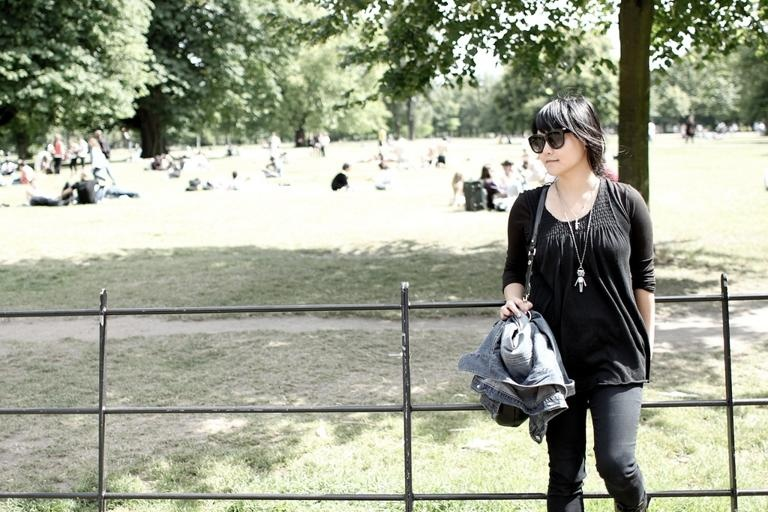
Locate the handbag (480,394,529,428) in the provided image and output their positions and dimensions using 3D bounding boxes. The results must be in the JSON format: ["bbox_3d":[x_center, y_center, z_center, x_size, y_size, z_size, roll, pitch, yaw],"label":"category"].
[{"bbox_3d":[2.843,3.230,30.226,1.072,0.613,0.796,-9,-17,-26],"label":"handbag"}]
